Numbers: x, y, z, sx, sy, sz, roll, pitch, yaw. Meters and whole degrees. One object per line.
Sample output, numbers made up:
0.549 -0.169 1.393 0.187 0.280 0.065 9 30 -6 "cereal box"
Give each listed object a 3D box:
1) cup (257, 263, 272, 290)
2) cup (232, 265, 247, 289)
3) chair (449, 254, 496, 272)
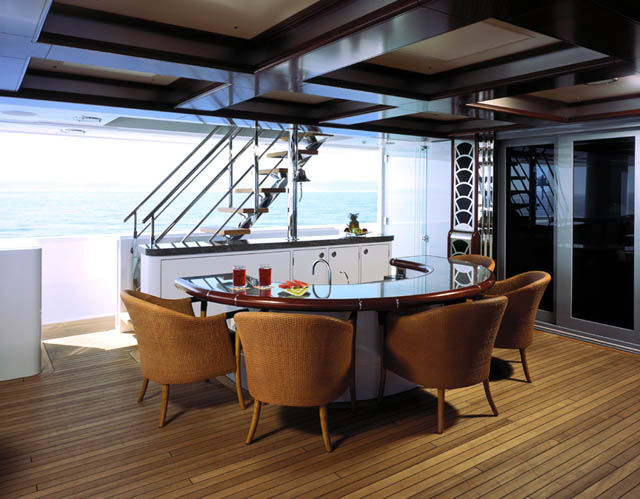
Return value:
-0.402 0.205 3.635 0.083 0.151 0.124 0 12 -3 "cup"
-0.593 0.207 3.682 0.105 0.145 0.197 -2 11 -10 "cup"
1.504 0.111 4.998 0.343 0.254 0.283 4 -1 -17 "chair"
